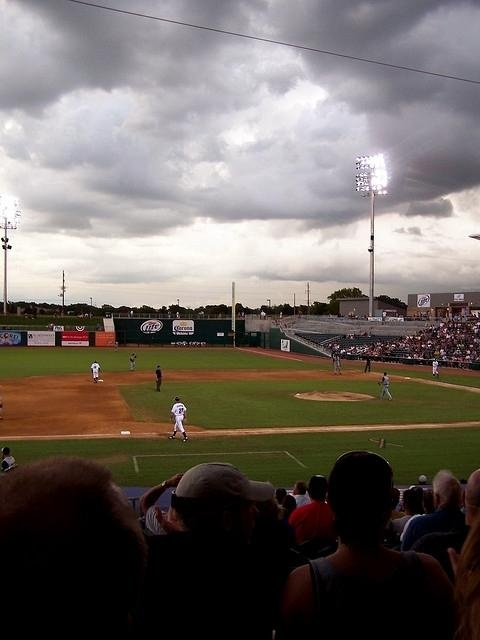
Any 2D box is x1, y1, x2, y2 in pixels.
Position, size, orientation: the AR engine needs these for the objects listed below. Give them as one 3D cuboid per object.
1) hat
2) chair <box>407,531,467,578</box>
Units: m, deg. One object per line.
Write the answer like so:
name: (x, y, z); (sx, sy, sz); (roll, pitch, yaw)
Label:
hat: (-0.082, 0.788, 2.926); (0.499, 0.156, 0.313); (-2, 2, -21)
chair: (1.299, 1.559, 4.111); (0.295, 0.291, 0.152); (25, -14, 19)
